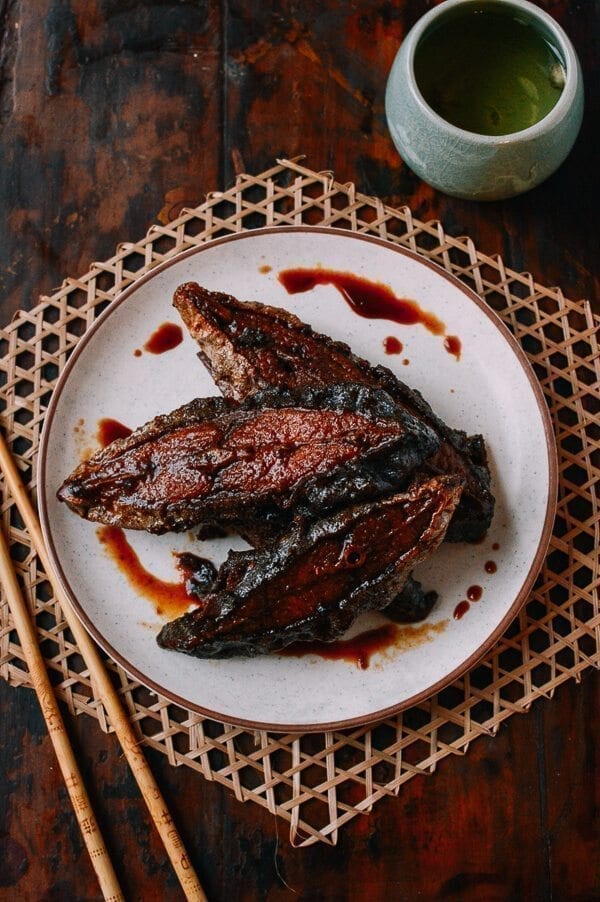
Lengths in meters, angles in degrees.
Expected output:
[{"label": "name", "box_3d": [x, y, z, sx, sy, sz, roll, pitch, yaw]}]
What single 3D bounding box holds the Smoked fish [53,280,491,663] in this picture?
[{"label": "Smoked fish", "box_3d": [-0.088, 0.149, 3.188, 1.160, 0.468, 1.069, 36, 84, 4]}]
